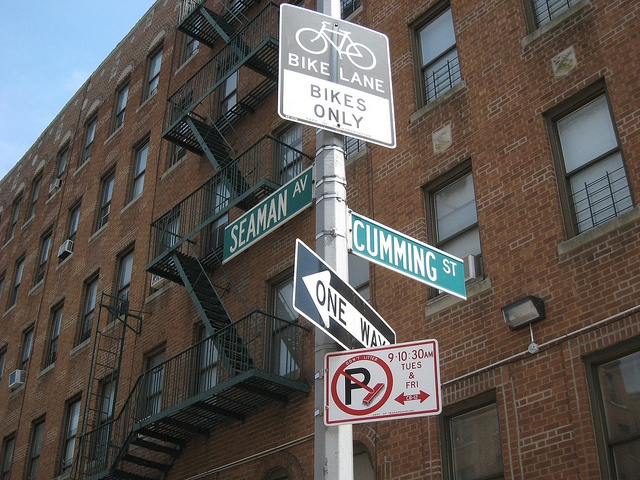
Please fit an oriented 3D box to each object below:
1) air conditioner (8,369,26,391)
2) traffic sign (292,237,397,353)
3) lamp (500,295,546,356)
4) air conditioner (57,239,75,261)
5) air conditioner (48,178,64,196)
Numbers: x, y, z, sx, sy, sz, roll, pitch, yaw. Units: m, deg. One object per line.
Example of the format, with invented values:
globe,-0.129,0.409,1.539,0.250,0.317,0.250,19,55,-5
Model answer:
air conditioner,-10.387,4.741,26.859,0.392,0.625,0.683,29,-46,-36
traffic sign,0.404,0.669,9.842,0.024,0.871,2.154,-15,-44,36
lamp,3.417,1.448,13.021,0.248,0.898,0.586,21,-36,-37
air conditioner,-8.866,0.386,27.428,0.184,0.477,0.529,25,-54,-28
air conditioner,-10.467,-2.076,31.064,0.206,0.538,0.540,29,-56,-29
